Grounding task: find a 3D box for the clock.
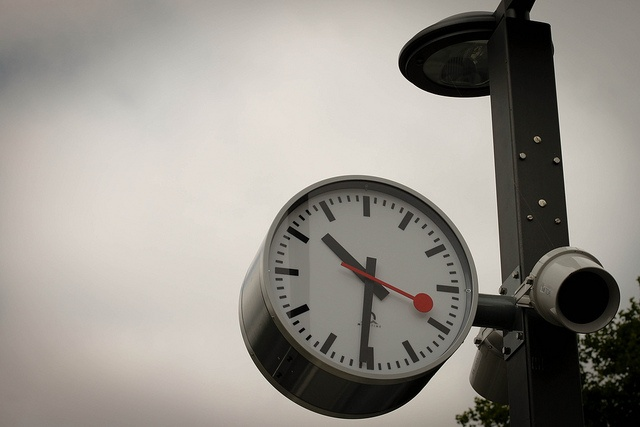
[{"bbox_3d":[0.319,0.608,6.916,1.554,1.256,1.171,19,-47,8],"label":"clock"}]
